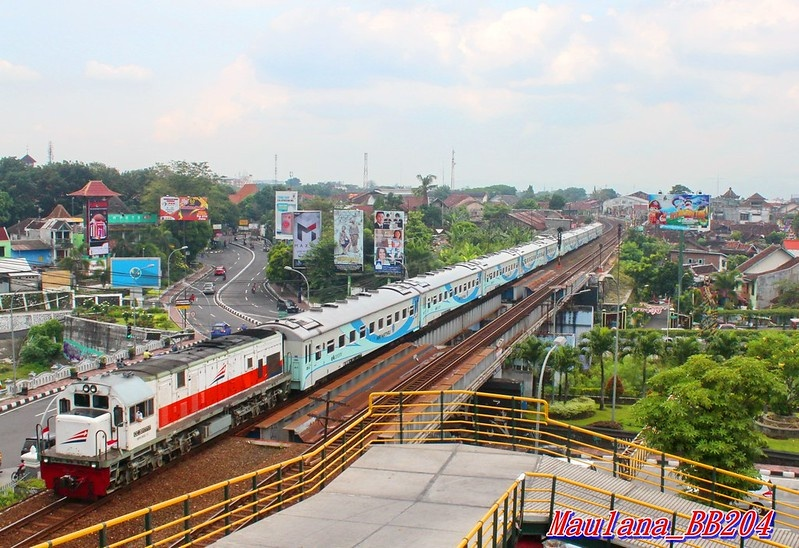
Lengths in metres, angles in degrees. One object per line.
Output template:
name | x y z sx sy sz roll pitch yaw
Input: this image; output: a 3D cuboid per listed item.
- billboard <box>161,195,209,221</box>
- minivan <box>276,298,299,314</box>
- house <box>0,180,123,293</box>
billboard | -23.362 -7.109 85.794 4.881 2.661 1.815 -5 5 -43
minivan | -8.690 2.549 61.924 1.850 1.082 3.453 0 -1 -24
house | -31.568 -3.730 77.158 13.178 7.975 13.232 3 5 40
